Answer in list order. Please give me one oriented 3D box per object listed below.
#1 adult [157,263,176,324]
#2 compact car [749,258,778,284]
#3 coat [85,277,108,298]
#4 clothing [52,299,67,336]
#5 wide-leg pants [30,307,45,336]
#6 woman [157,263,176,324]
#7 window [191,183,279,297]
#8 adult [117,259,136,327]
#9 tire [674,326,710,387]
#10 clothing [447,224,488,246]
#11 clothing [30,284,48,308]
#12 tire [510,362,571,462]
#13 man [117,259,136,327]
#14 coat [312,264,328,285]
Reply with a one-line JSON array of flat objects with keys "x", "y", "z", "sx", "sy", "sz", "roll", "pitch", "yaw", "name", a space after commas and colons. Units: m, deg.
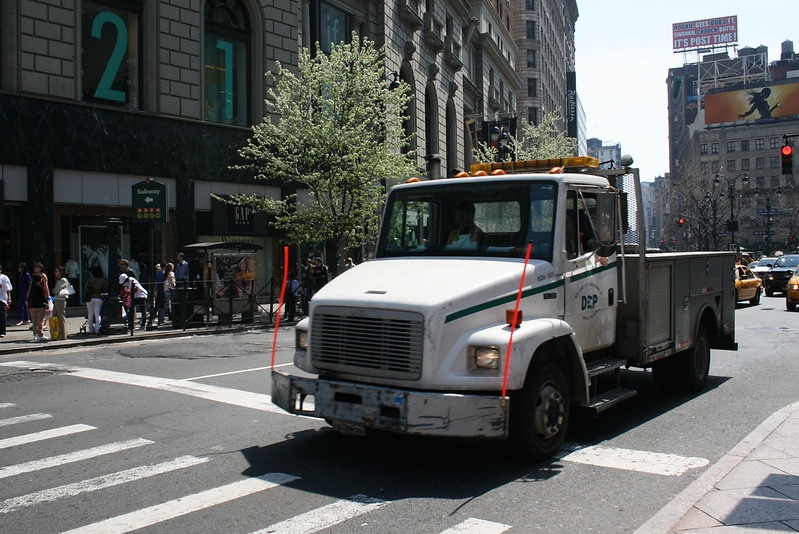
[{"x": -7.534, "y": 0.940, "z": 23.050, "sx": 0.597, "sy": 1.868, "sz": 1.753, "roll": -3, "pitch": 7, "yaw": -18, "name": "adult"}, {"x": 19.256, "y": 0.254, "z": 37.639, "sx": 1.225, "sy": 1.063, "sz": 2.776, "roll": -5, "pitch": -8, "yaw": 44, "name": "compact car"}, {"x": -8.924, "y": 0.635, "z": 20.978, "sx": 0.569, "sy": 0.675, "sz": 0.360, "roll": 0, "pitch": -10, "yaw": 0, "name": "coat"}, {"x": -9.437, "y": 1.434, "z": 19.840, "sx": 0.268, "sy": 1.093, "sz": 0.833, "roll": -4, "pitch": 8, "yaw": -26, "name": "clothing"}, {"x": -9.954, "y": 1.532, "z": 19.660, "sx": 0.336, "sy": 0.821, "sz": 0.434, "roll": -6, "pitch": 9, "yaw": -38, "name": "wide-leg pants"}, {"x": -7.531, "y": 0.941, "z": 23.043, "sx": 0.597, "sy": 1.868, "sz": 1.768, "roll": -3, "pitch": 7, "yaw": -18, "name": "woman"}, {"x": -7.353, "y": -0.725, "z": 29.230, "sx": 1.605, "sy": 4.895, "sz": 5.180, "roll": 9, "pitch": 12, "yaw": 10, "name": "window"}, {"x": -8.250, "y": 0.633, "z": 21.768, "sx": 0.470, "sy": 1.721, "sz": 0.521, "roll": 12, "pitch": 15, "yaw": 38, "name": "adult"}, {"x": 5.188, "y": 1.610, "z": 12.723, "sx": 0.358, "sy": 1.176, "sz": 1.132, "roll": -6, "pitch": -4, "yaw": 37, "name": "tire"}, {"x": 0.967, "y": -0.438, "z": 10.389, "sx": 0.436, "sy": 0.295, "sz": 0.289, "roll": -2, "pitch": -4, "yaw": 28, "name": "clothing"}, {"x": -9.952, "y": 0.836, "z": 19.620, "sx": 0.496, "sy": 0.684, "sz": 0.368, "roll": -2, "pitch": -16, "yaw": -14, "name": "clothing"}, {"x": 1.937, "y": 1.966, "z": 9.819, "sx": 0.558, "sy": 1.337, "sz": 1.295, "roll": 0, "pitch": 4, "yaw": 44, "name": "tire"}, {"x": -8.449, "y": 0.789, "z": 22.196, "sx": 0.680, "sy": 2.340, "sz": 0.652, "roll": 1, "pitch": -16, "yaw": -25, "name": "man"}, {"x": -3.013, "y": 0.317, "z": 26.653, "sx": 0.692, "sy": 0.923, "sz": 0.454, "roll": -2, "pitch": -4, "yaw": 14, "name": "coat"}]
